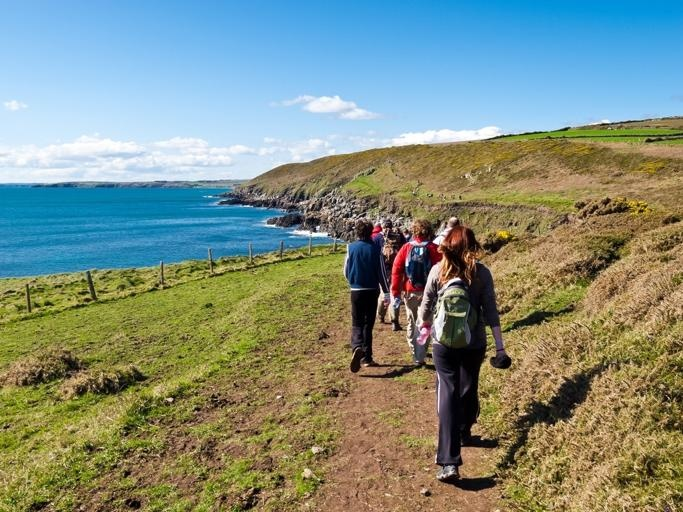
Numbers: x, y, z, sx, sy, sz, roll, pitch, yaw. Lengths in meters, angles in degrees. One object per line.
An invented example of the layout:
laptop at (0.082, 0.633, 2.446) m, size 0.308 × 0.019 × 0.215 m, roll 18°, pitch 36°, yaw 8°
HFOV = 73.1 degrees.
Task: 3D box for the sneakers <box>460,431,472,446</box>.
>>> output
sneakers at (1.926, 2.854, 7.145) m, size 0.160 × 0.138 × 0.377 m, roll -4°, pitch -18°, yaw 15°

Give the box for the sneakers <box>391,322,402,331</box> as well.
sneakers at (1.415, 1.861, 12.103) m, size 0.240 × 0.212 × 0.244 m, roll 2°, pitch -8°, yaw -43°

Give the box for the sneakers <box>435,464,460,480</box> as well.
sneakers at (1.505, 3.097, 6.611) m, size 0.198 × 0.156 × 0.367 m, roll 0°, pitch -15°, yaw 6°
